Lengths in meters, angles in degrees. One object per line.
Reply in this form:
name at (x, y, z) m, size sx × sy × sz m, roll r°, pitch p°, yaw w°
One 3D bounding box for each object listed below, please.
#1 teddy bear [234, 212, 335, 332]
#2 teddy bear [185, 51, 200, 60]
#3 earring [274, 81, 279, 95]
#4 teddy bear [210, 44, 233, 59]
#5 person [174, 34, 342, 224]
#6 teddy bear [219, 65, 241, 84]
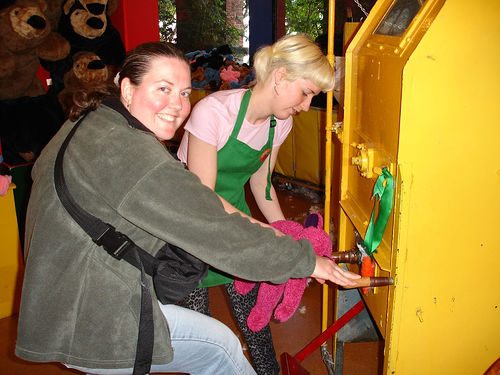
teddy bear at (0.150, 0.386, 1.856) m, size 0.389 × 0.553 × 0.120 m, roll 30°, pitch -7°, yaw -3°
teddy bear at (-0.940, -2.216, 7.175) m, size 0.210 × 0.129 × 0.598 m, roll -2°, pitch 29°, yaw -6°
earring at (0.120, -0.449, 1.944) m, size 0.013 × 0.058 × 0.050 m, roll 1°, pitch 6°, yaw -14°
teddy bear at (-0.442, -2.118, 6.710) m, size 0.322 × 0.149 × 0.400 m, roll -3°, pitch 29°, yaw -6°
person at (0.001, -0.278, 2.128) m, size 0.545 × 1.042 × 0.633 m, roll 16°, pitch 29°, yaw -14°
teddy bear at (-0.289, -1.606, 6.199) m, size 0.297 × 0.189 × 0.254 m, roll 8°, pitch 28°, yaw 13°
